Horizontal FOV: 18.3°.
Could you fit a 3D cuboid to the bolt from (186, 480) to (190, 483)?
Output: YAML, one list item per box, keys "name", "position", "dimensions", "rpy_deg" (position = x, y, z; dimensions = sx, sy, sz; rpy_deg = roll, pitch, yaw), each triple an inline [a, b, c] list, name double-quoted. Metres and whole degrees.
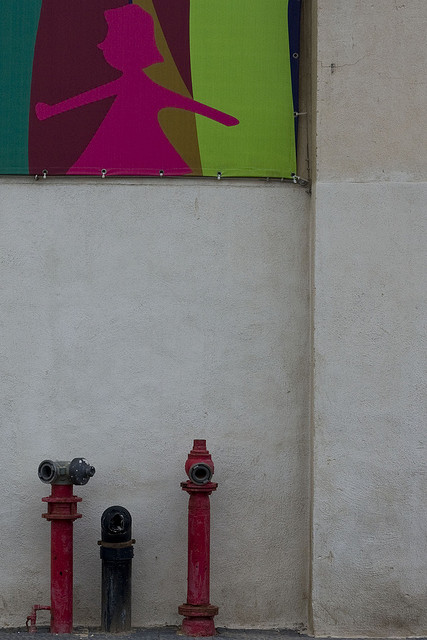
- name: "bolt"
  position: [-0.189, 1.181, 9.680]
  dimensions: [0.020, 0.006, 0.022]
  rpy_deg: [-4, 18, 8]

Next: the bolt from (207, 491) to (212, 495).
- name: "bolt"
  position: [-0.037, 1.258, 9.607]
  dimensions: [0.030, 0.036, 0.026]
  rpy_deg: [-8, -5, 23]

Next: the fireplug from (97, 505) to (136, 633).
- name: "fireplug"
  position: [-0.703, 1.804, 9.557]
  dimensions: [0.246, 0.884, 0.243]
  rpy_deg: [1, -10, -5]

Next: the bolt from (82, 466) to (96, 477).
- name: "bolt"
  position: [-0.903, 1.092, 9.535]
  dimensions: [0.062, 0.071, 0.068]
  rpy_deg: [1, -7, -5]

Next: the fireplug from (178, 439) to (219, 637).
- name: "fireplug"
  position: [-0.123, 1.562, 9.557]
  dimensions: [0.267, 1.415, 0.368]
  rpy_deg: [-1, -10, 3]

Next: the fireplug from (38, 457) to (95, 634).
- name: "fireplug"
  position: [-1.078, 1.623, 9.510]
  dimensions: [0.367, 1.233, 0.346]
  rpy_deg: [4, -11, -25]
